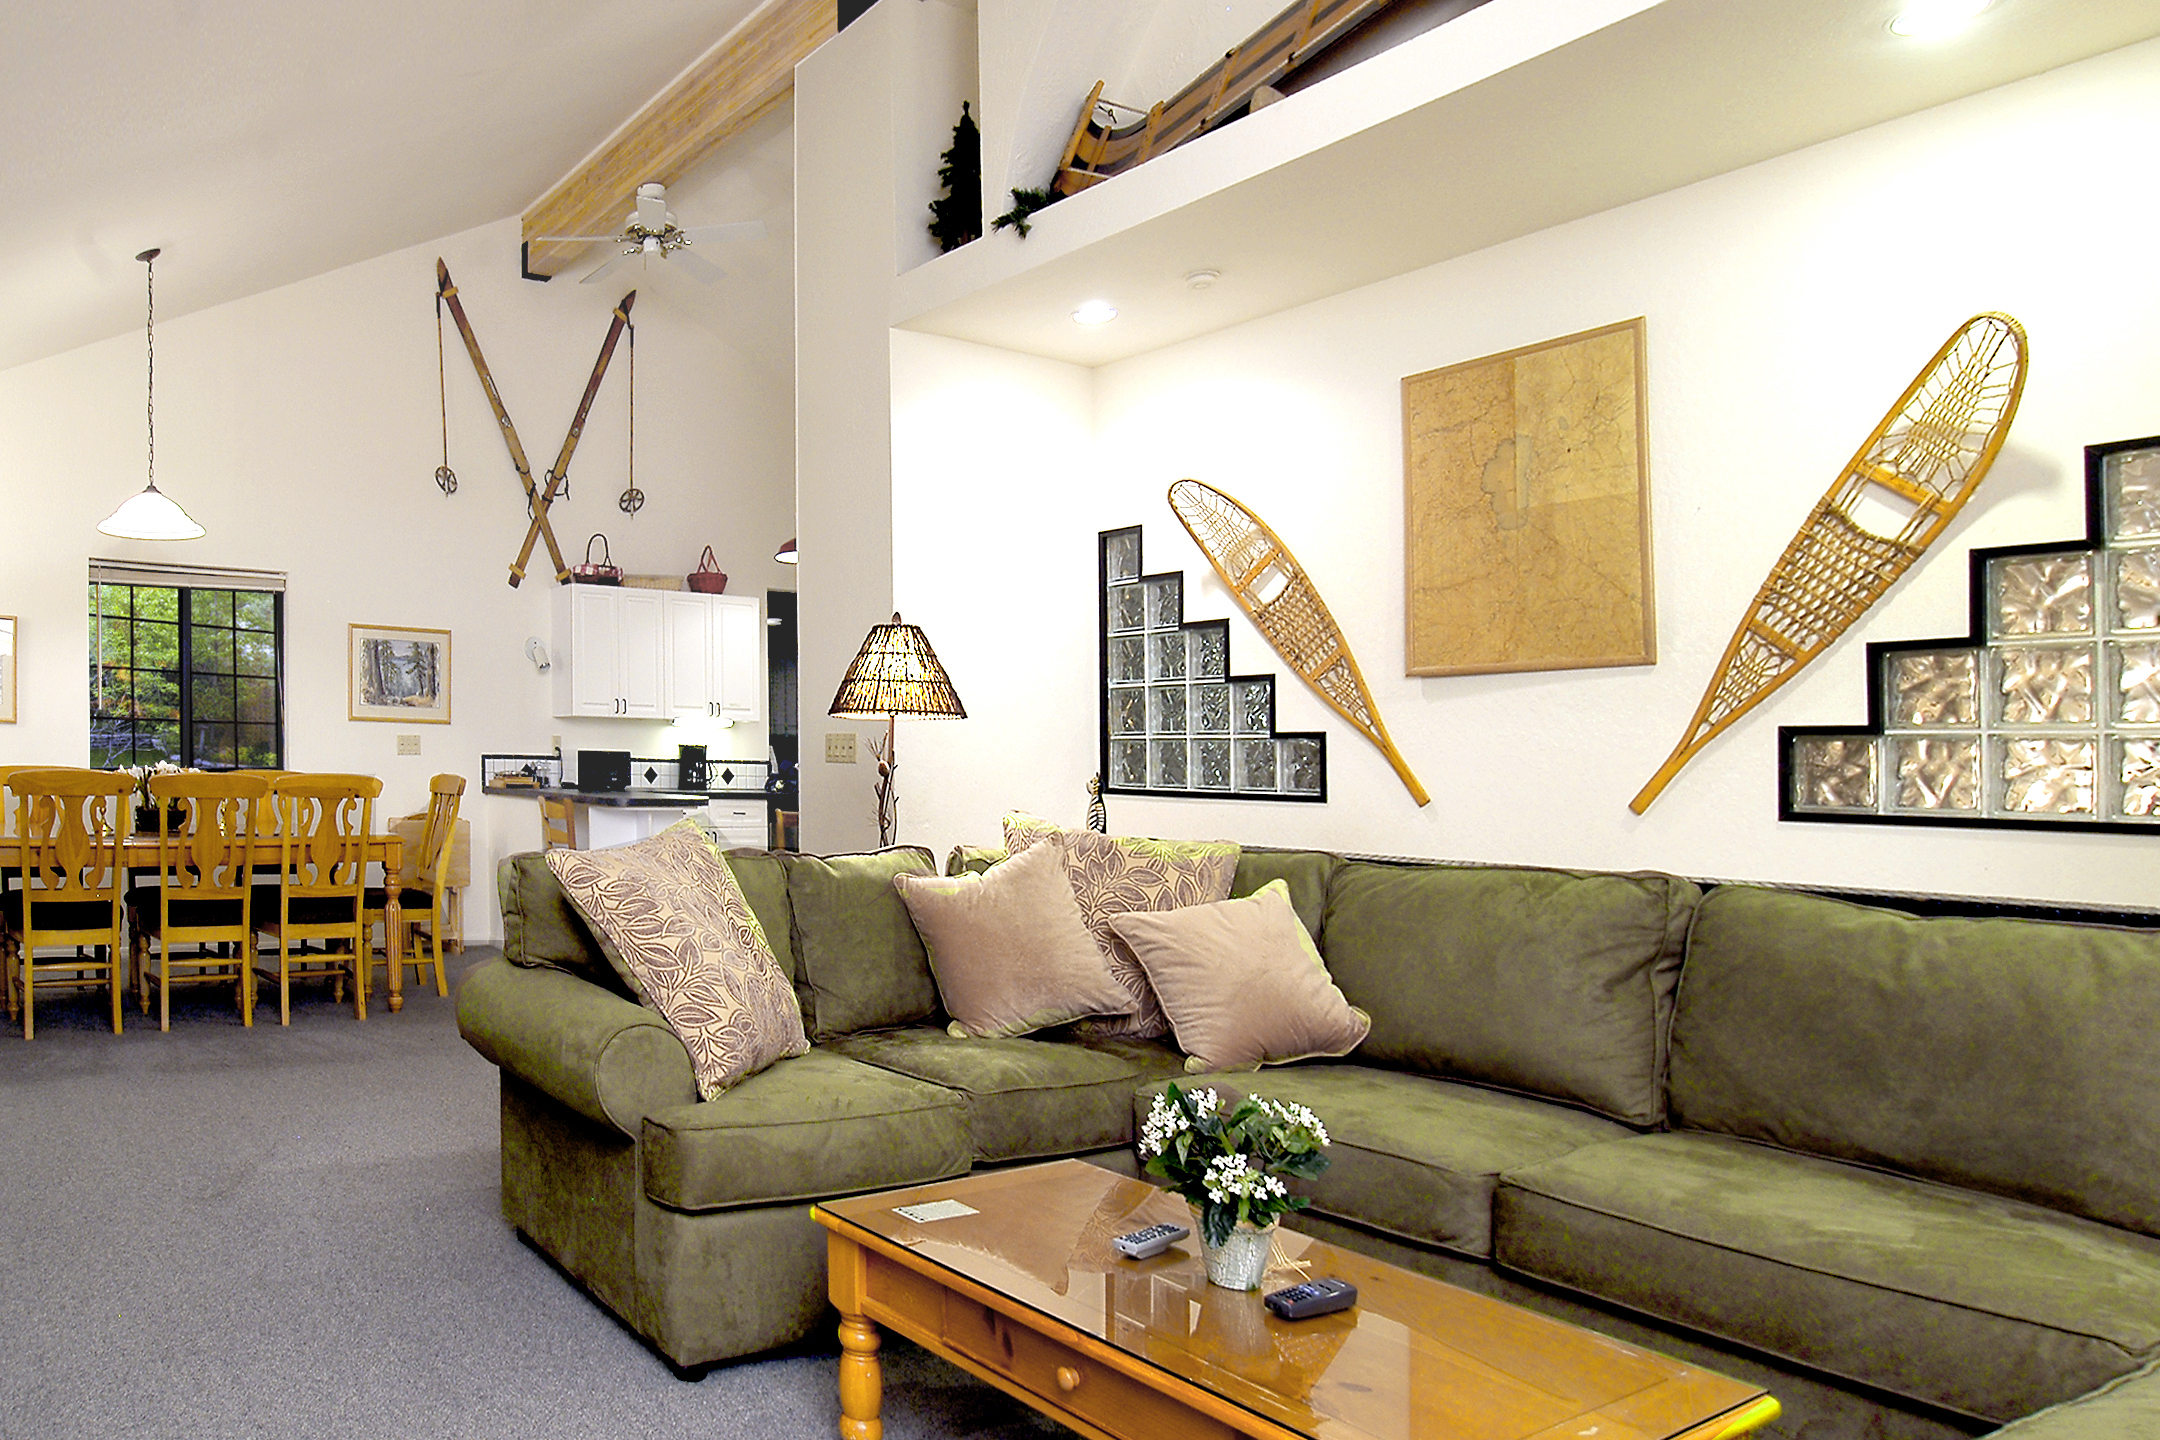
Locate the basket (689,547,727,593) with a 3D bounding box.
[{"bbox_3d":[-2.546,-1.037,10.118,0.258,0.339,0.357,1,-6,-21],"label":"basket"}]

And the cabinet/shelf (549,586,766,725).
[{"bbox_3d":[-2.869,-0.441,9.707,0.968,0.613,0.312,0,2,-38],"label":"cabinet/shelf"}]

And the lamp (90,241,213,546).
[{"bbox_3d":[-5.091,-1.677,7.972,0.463,1.791,1.239,-3,0,-33],"label":"lamp"}]

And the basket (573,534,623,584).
[{"bbox_3d":[-3.180,-1.080,9.611,0.288,0.378,0.442,-3,0,-19],"label":"basket"}]

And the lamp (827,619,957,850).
[{"bbox_3d":[-0.719,0.047,5.847,0.482,0.886,0.779,-3,0,-6],"label":"lamp"}]

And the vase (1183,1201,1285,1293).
[{"bbox_3d":[0.322,1.107,3.095,0.180,0.141,0.186,7,-10,-14],"label":"vase"}]

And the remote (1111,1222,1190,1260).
[{"bbox_3d":[0.160,1.151,3.240,0.115,0.034,0.066,-2,3,-42],"label":"remote"}]

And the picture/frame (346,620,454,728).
[{"bbox_3d":[-4.262,-0.286,9.086,0.657,0.709,0.038,4,-8,-40],"label":"picture/frame"}]
